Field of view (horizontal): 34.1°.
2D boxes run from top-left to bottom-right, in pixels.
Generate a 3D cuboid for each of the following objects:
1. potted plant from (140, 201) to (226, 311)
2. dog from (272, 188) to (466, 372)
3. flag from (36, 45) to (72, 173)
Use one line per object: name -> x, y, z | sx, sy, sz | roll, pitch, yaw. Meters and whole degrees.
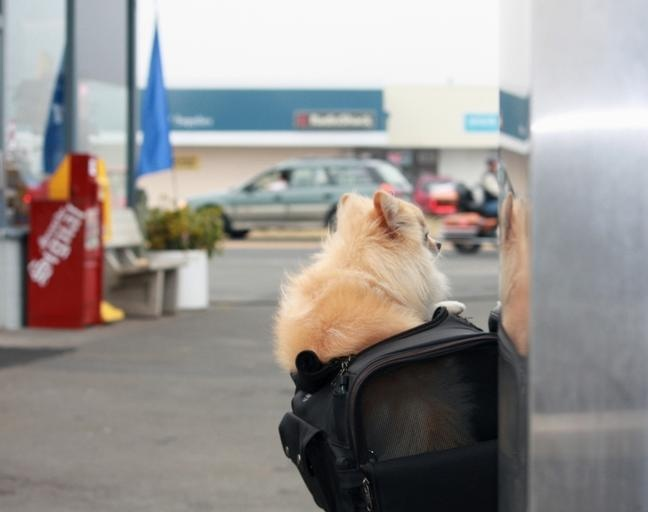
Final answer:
potted plant -> -0.750, -0.014, 6.208 | 0.468, 0.752, 0.589 | 0, 3, 12
dog -> 0.129, 0.123, 4.041 | 0.719, 0.669, 0.564 | -21, 16, -9
flag -> -1.856, -0.957, 7.392 | 0.222, 1.201, 0.051 | -10, 45, -31
